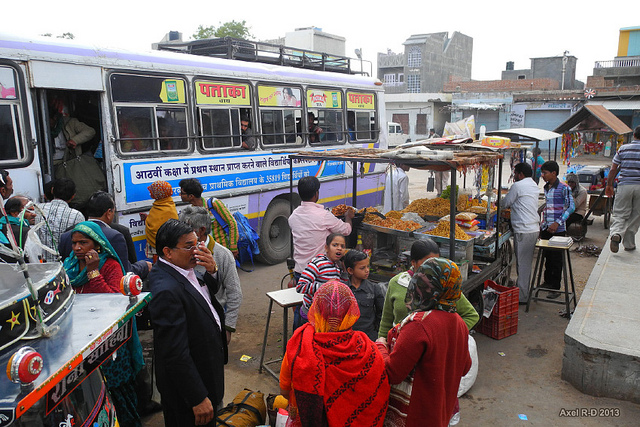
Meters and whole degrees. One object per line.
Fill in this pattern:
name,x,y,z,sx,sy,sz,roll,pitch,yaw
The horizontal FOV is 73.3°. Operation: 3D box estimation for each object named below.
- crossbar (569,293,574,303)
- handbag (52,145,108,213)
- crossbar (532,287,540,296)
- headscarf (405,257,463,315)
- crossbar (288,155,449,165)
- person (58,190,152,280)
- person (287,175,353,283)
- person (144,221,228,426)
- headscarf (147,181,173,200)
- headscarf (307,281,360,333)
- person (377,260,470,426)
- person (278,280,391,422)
crossbar,4.273,1.439,7.345,0.049,0.060,0.256,25,23,18
handbag,-3.972,-0.715,7.199,0.732,1.000,0.364,-20,27,4
crossbar,3.767,1.350,7.534,0.111,0.109,0.029,12,-7,-4
headscarf,0.966,0.634,3.689,0.421,0.502,0.454,2,-1,-35
crossbar,0.596,-0.790,6.228,2.533,0.091,0.187,7,13,35
person,-2.446,0.348,5.067,0.865,1.193,0.737,-1,19,-14
person,-0.033,0.256,5.990,0.747,1.529,0.458,-3,11,-8
person,-1.191,1.067,3.893,0.594,2.013,0.815,-2,11,-5
headscarf,-2.411,-0.375,6.667,0.322,0.232,0.262,-15,10,6
headscarf,0.115,0.727,3.339,0.319,0.414,0.300,-1,-11,-2
person,0.866,1.087,3.615,0.752,1.407,0.517,1,11,11
person,0.147,1.124,3.400,0.771,1.163,0.339,-6,12,-22
